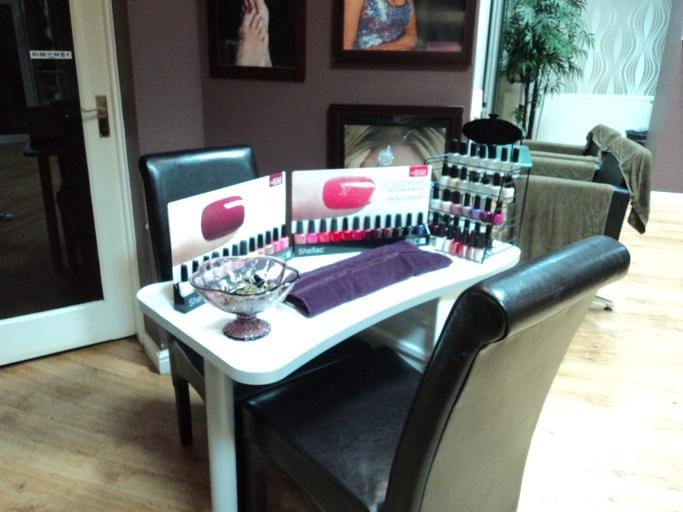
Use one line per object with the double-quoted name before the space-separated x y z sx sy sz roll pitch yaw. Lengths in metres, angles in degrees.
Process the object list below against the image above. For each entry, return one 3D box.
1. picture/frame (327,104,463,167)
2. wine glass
"picture/frame" 0.305 -0.654 3.025 0.424 0.290 0.018 2 15 2
"wine glass" -0.322 0.196 1.821 0.251 0.264 0.146 3 36 -7
